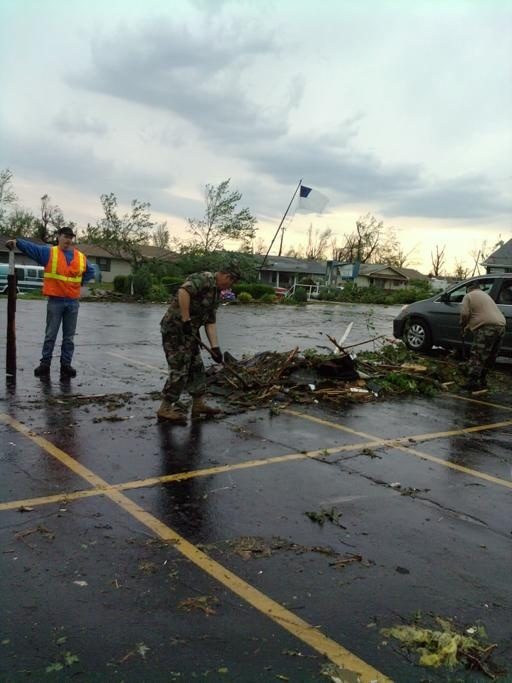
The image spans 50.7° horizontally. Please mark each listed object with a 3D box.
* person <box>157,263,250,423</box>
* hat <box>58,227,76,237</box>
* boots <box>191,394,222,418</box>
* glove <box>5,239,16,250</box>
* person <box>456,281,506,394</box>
[{"bbox_3d":[-0.618,-0.014,5.573,0.746,1.631,0.766,8,8,13],"label":"person"},{"bbox_3d":[-2.603,-1.508,7.407,0.204,0.142,0.383,2,7,-22],"label":"hat"},{"bbox_3d":[-0.482,0.694,5.830,0.439,0.269,0.141,-4,14,-18],"label":"boots"},{"bbox_3d":[-2.979,-1.190,6.581,0.098,0.147,0.440,2,7,-23],"label":"glove"},{"bbox_3d":[3.426,-0.083,8.320,0.525,1.649,0.585,1,10,-33],"label":"person"}]
